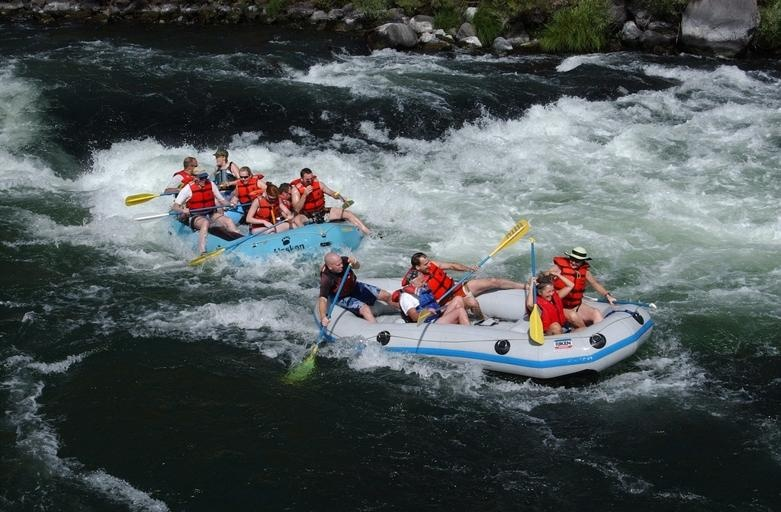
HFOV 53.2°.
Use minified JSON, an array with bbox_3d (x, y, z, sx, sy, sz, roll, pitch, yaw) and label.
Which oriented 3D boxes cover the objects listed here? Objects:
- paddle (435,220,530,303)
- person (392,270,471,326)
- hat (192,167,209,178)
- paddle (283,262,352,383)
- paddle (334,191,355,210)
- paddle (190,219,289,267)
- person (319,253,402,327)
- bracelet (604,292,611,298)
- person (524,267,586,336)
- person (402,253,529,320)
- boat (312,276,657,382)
[{"bbox_3d":[1.826,0.159,15.377,3.123,0.356,0.290,-28,-10,-19],"label":"paddle"},{"bbox_3d":[0.677,0.862,13.836,1.260,0.538,1.063,26,49,29],"label":"person"},{"bbox_3d":[-4.216,-1.802,16.966,0.435,0.166,0.302,7,22,35],"label":"hat"},{"bbox_3d":[-1.098,1.146,13.821,0.680,0.131,2.691,17,50,24],"label":"paddle"},{"bbox_3d":[-1.012,-1.197,17.063,0.433,0.431,0.126,10,67,56],"label":"paddle"},{"bbox_3d":[-3.159,-0.227,16.105,2.620,0.106,0.297,-18,45,-4],"label":"paddle"},{"bbox_3d":[-0.860,0.560,14.127,1.869,0.689,1.219,11,37,19],"label":"person"},{"bbox_3d":[3.882,0.698,13.959,0.162,0.036,0.135,8,8,18],"label":"bracelet"},{"bbox_3d":[2.880,0.824,13.497,0.795,1.028,0.976,10,35,45],"label":"person"},{"bbox_3d":[1.194,0.393,14.253,2.317,0.877,1.109,16,38,14],"label":"person"},{"bbox_3d":[1.643,1.189,14.088,5.829,1.102,2.219,4,19,13],"label":"boat"}]
